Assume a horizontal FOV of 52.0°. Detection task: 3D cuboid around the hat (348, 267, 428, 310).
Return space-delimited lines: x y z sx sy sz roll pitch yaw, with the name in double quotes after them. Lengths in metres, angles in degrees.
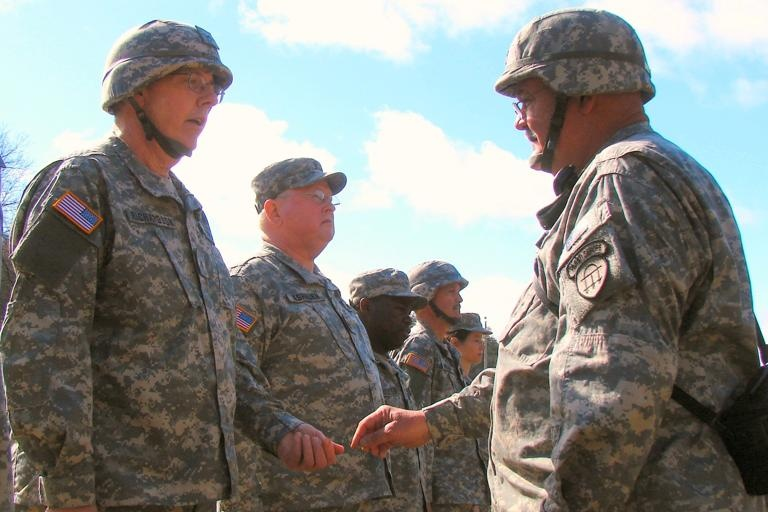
-0.027 0.302 7.712 0.588 0.270 0.420 -4 -9 12 "hat"
